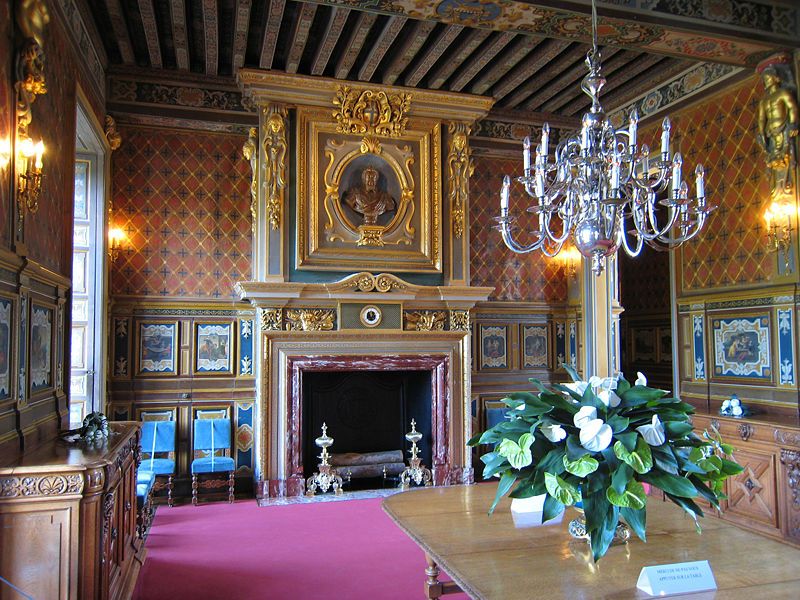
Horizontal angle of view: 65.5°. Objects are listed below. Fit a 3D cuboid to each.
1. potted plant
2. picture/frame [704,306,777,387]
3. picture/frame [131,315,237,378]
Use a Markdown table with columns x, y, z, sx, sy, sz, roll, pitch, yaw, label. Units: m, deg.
| x | y | z | sx | sy | sz | roll | pitch | yaw | label |
| --- | --- | --- | --- | --- | --- | --- | --- | --- | --- |
| 0.971 | 0.797 | 3.012 | 0.905 | 0.807 | 0.815 | -2 | 0 | -36 | potted plant |
| 3.670 | 0.496 | 6.650 | 0.058 | 0.835 | 0.778 | 4 | -6 | -17 | picture/frame |
| -2.622 | 0.569 | 7.573 | 1.091 | 0.717 | 0.183 | -2 | 0 | -7 | picture/frame |
